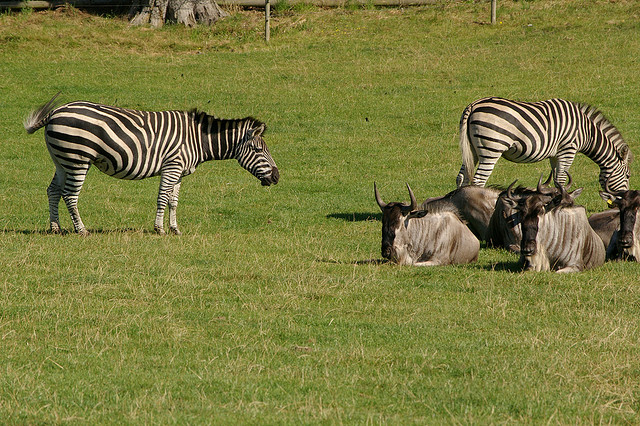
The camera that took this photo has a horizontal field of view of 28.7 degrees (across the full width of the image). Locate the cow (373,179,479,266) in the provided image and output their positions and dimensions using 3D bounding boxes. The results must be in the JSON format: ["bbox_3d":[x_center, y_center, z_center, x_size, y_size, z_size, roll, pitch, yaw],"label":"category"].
[{"bbox_3d":[3.159,0.787,35.715,1.577,2.630,4.245,-3,-5,45],"label":"cow"}]

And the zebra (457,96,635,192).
[{"bbox_3d":[6.876,-2.119,38.809,5.480,2.961,1.002,-5,11,-21],"label":"zebra"}]
